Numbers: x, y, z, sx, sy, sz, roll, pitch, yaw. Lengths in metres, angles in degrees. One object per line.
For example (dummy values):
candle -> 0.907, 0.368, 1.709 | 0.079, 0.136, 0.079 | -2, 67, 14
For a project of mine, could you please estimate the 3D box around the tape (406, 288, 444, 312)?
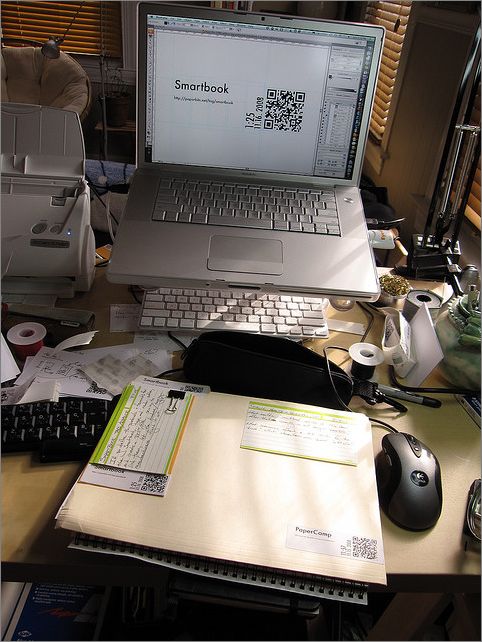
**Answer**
tape -> 0.313, -0.035, 0.814 | 0.043, 0.026, 0.043 | -3, 42, -1

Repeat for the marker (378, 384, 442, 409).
marker -> 0.245, 0.110, 0.696 | 0.085, 0.012, 0.013 | 14, 73, 3

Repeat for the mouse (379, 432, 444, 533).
mouse -> 0.190, 0.183, 0.544 | 0.059, 0.033, 0.102 | 5, 47, -4

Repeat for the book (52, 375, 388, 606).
book -> -0.008, 0.163, 0.551 | 0.329, 0.018, 0.241 | 10, 31, 4
